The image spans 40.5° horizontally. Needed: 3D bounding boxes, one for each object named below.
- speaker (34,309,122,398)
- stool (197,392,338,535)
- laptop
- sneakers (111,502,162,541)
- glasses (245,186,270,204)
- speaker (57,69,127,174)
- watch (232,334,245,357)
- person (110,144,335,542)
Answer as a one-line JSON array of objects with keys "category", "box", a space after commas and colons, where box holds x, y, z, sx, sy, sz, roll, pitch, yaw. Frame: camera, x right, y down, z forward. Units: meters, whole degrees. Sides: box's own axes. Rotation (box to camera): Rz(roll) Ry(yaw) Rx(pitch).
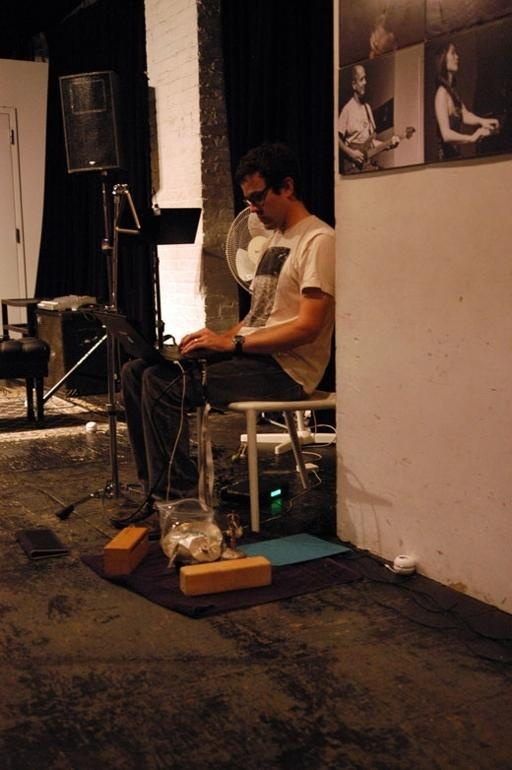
[{"category": "speaker", "box": [-1.444, -0.216, 5.504, 0.615, 0.956, 0.786, -4, 7, -34]}, {"category": "stool", "box": [0.001, 0.207, 2.406, 0.532, 0.371, 0.464, -2, 0, -27]}, {"category": "laptop", "box": [-0.366, -0.163, 2.327, 0.254, 0.163, 0.273, -13, 21, -36]}, {"category": "sneakers", "box": [-0.405, 0.459, 2.361, 0.145, 0.053, 0.115, -11, 20, 8]}, {"category": "glasses", "box": [0.012, -0.652, 2.397, 0.060, 0.061, 0.020, 3, -26, 46]}, {"category": "speaker", "box": [-1.089, -1.708, 4.536, 0.484, 0.677, 0.234, 4, 9, 36]}, {"category": "watch", "box": [-0.058, -0.132, 2.295, 0.039, 0.058, 0.062, 5, 5, 3]}, {"category": "person", "box": [-0.093, -0.176, 2.482, 0.802, 1.265, 0.578, -5, 9, -18]}]
